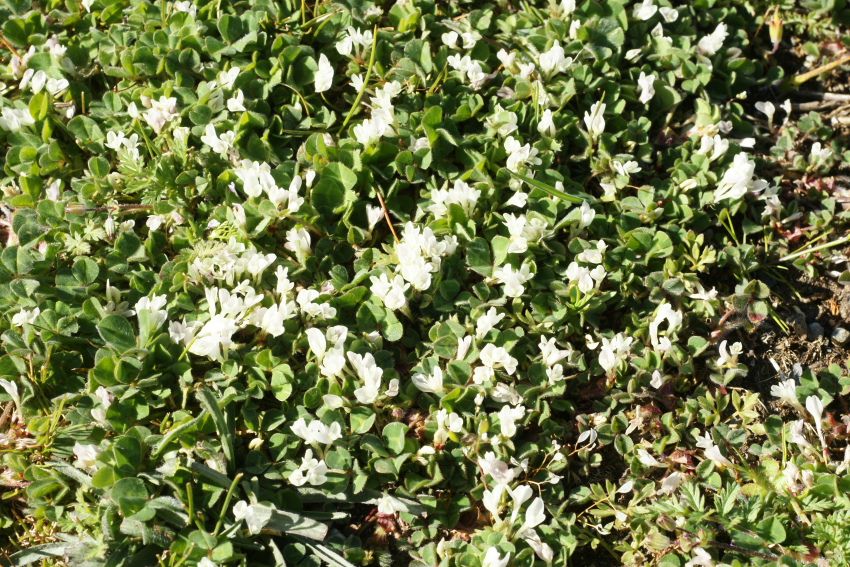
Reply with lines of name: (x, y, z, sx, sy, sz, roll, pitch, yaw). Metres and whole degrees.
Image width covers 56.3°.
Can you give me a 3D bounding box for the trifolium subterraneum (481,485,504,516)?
trifolium subterraneum: (0.318, 0.987, 3.643, 0.092, 0.056, 0.144, 21, 83, 24)
